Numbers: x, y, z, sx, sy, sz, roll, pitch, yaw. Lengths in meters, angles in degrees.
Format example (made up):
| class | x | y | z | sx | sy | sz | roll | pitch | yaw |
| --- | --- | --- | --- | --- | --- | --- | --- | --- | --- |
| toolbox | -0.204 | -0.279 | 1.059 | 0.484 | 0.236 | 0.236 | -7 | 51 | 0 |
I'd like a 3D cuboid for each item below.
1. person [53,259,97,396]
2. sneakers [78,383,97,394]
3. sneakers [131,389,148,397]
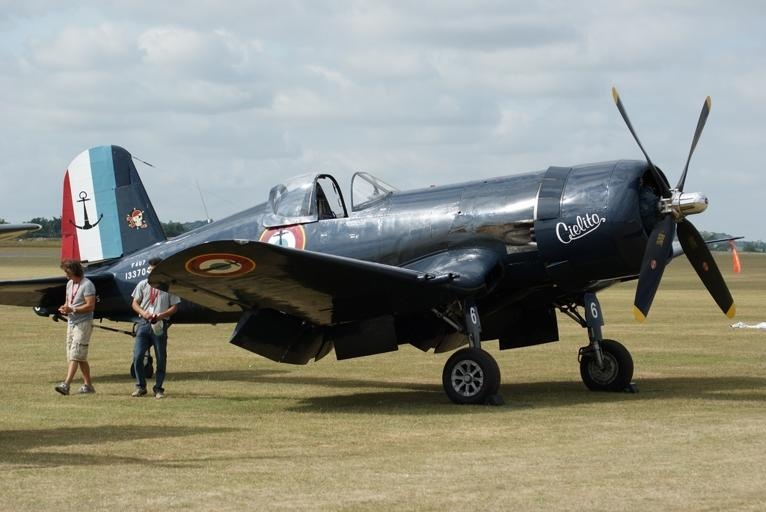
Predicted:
| class | x | y | z | sx | sy | sz | roll | pitch | yaw |
| --- | --- | --- | --- | --- | --- | --- | --- | --- | --- |
| person | -4.397 | 0.998 | 12.226 | 0.542 | 1.436 | 0.943 | -1 | 1 | -18 |
| sneakers | -4.154 | 1.896 | 12.239 | 0.361 | 0.103 | 0.107 | 6 | 2 | -12 |
| sneakers | -3.450 | 1.928 | 12.045 | 0.296 | 0.073 | 0.113 | 1 | -32 | -20 |
